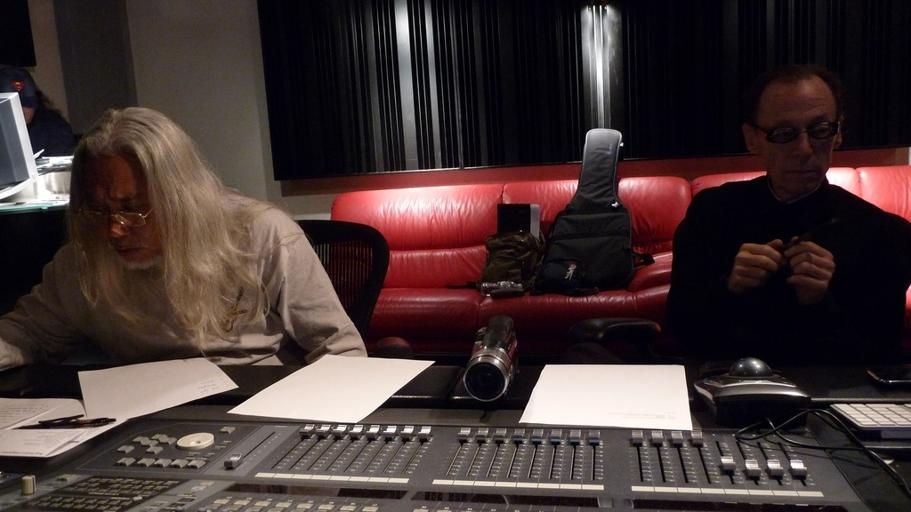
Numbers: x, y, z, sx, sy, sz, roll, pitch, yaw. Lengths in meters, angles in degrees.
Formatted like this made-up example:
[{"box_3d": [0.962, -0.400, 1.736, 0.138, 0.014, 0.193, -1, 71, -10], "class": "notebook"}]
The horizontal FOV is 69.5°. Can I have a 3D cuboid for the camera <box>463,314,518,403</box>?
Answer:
[{"box_3d": [0.123, 0.341, 2.114, 0.152, 0.135, 0.300, -1, 13, 15], "class": "camera"}]

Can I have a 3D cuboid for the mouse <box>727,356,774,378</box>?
[{"box_3d": [0.934, 0.351, 2.061, 0.142, 0.048, 0.069, 0, 18, 9], "class": "mouse"}]
